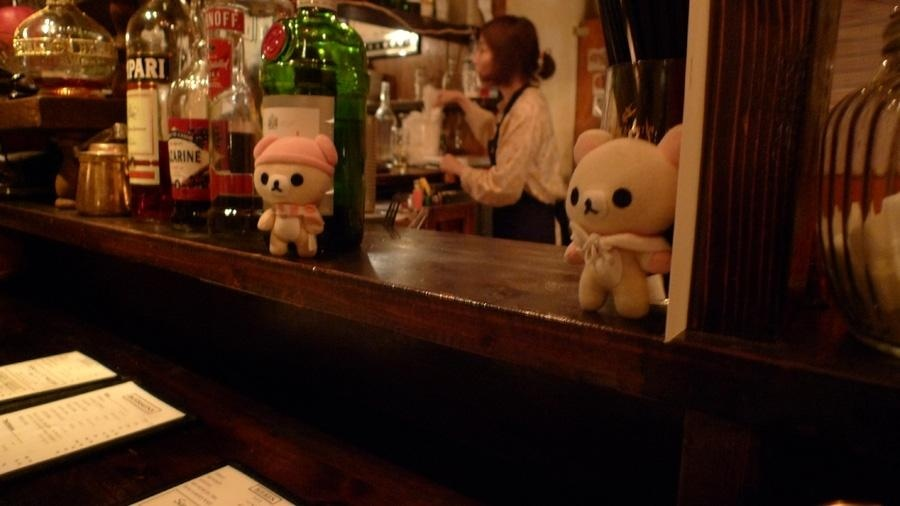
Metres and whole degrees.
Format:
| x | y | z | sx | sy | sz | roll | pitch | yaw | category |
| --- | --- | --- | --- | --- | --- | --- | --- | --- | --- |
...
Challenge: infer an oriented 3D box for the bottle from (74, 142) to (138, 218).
| x | y | z | sx | sy | sz | roll | pitch | yaw | category |
| --- | --- | --- | --- | --- | --- | --- | --- | --- | --- |
| -0.925 | -0.187 | 1.713 | 0.193 | 0.200 | 0.188 | 1 | -3 | -24 | bottle |

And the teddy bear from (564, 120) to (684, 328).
| x | y | z | sx | sy | sz | roll | pitch | yaw | category |
| --- | --- | --- | --- | --- | --- | --- | --- | --- | --- |
| 0.258 | -0.051 | 0.966 | 0.159 | 0.280 | 0.093 | 4 | 16 | 10 | teddy bear |

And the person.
| x | y | z | sx | sy | sz | roll | pitch | yaw | category |
| --- | --- | --- | --- | --- | --- | --- | --- | --- | --- |
| 0.276 | -0.651 | 3.330 | 0.655 | 1.128 | 0.860 | 2 | 16 | 1 | person |

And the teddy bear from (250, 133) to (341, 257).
| x | y | z | sx | sy | sz | roll | pitch | yaw | category |
| --- | --- | --- | --- | --- | --- | --- | --- | --- | --- |
| -0.309 | -0.116 | 1.229 | 0.174 | 0.224 | 0.128 | 4 | 16 | 9 | teddy bear |
